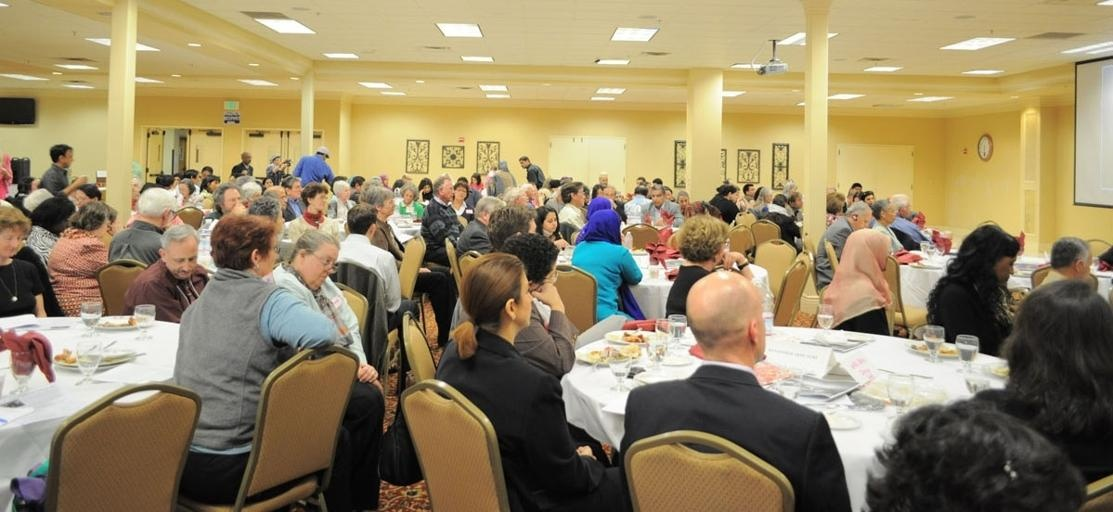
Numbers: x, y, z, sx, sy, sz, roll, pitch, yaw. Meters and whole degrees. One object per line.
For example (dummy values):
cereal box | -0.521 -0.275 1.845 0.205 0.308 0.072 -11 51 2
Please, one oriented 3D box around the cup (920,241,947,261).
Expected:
cup | 5.895 -0.086 10.116 0.352 0.227 0.303 -3 8 -16

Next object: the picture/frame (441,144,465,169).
picture/frame | -3.470 -3.346 21.712 0.964 0.793 0.063 1 1 -5

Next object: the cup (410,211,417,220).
cup | -2.922 -0.827 13.536 0.186 0.174 0.171 0 6 0

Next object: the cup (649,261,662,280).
cup | 1.295 0.208 8.661 0.201 0.147 0.211 2 6 0
